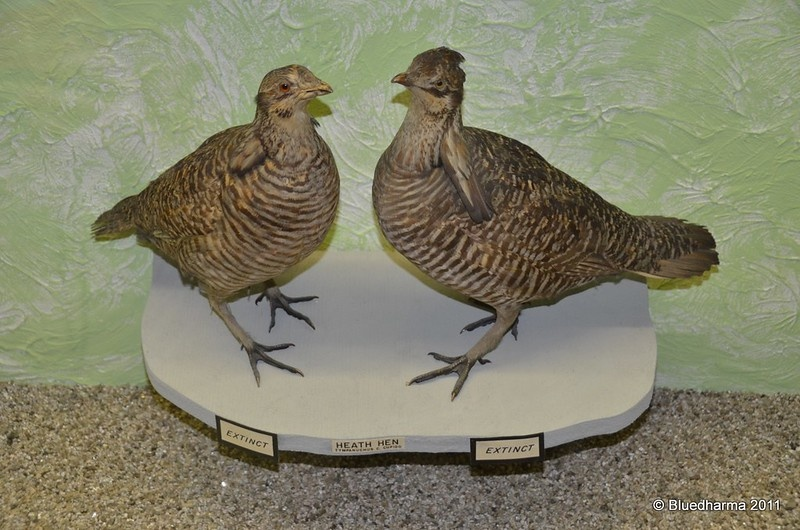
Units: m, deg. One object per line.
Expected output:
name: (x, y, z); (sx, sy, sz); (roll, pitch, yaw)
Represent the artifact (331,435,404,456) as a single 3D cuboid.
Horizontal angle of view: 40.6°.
artifact: (-0.123, 0.700, 4.156); (0.281, 0.141, 0.060); (-4, 42, -5)
